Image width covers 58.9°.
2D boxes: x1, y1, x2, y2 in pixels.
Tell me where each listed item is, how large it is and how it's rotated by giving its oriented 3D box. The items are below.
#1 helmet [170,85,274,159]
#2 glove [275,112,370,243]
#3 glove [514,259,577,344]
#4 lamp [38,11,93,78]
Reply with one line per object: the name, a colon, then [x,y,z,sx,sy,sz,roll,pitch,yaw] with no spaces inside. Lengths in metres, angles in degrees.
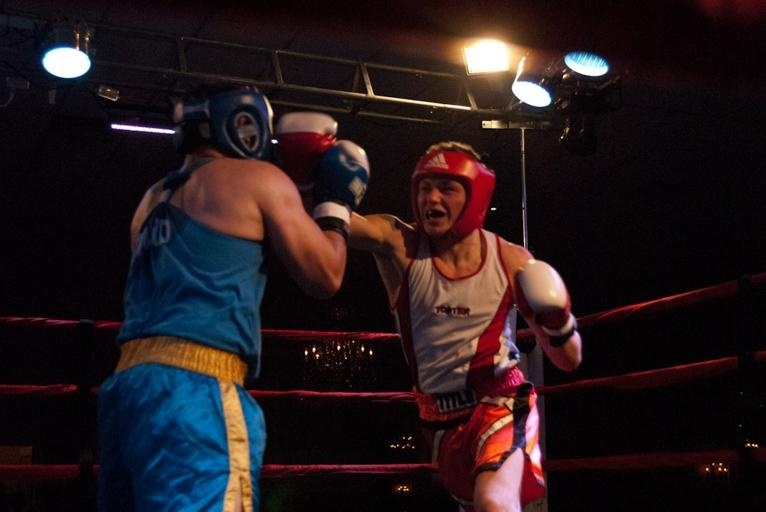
helmet: [-0.811,-0.638,3.423,0.448,0.284,0.335,-2,-3,-22]
glove: [-0.316,-0.436,3.572,0.490,0.594,0.290,6,14,15]
glove: [0.942,0.296,3.984,0.214,0.360,0.482,-32,-31,-15]
lamp: [-2.814,-1.866,6.278,0.546,0.460,0.507,8,-42,-17]
